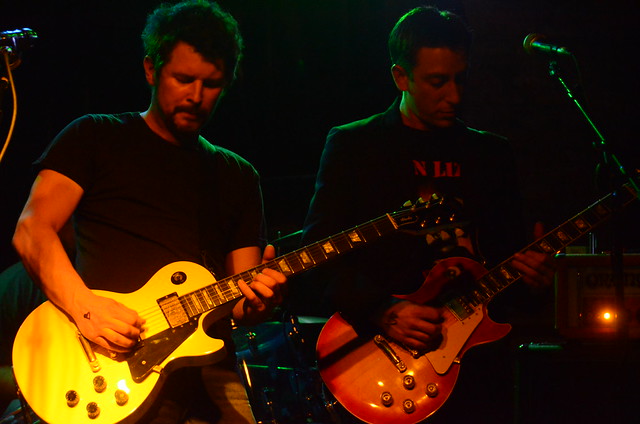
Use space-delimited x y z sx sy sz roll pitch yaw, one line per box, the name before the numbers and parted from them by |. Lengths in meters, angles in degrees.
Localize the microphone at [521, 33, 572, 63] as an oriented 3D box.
microphone | 1.434 -1.069 3.353 0.133 0.151 0.397 6 17 -32
